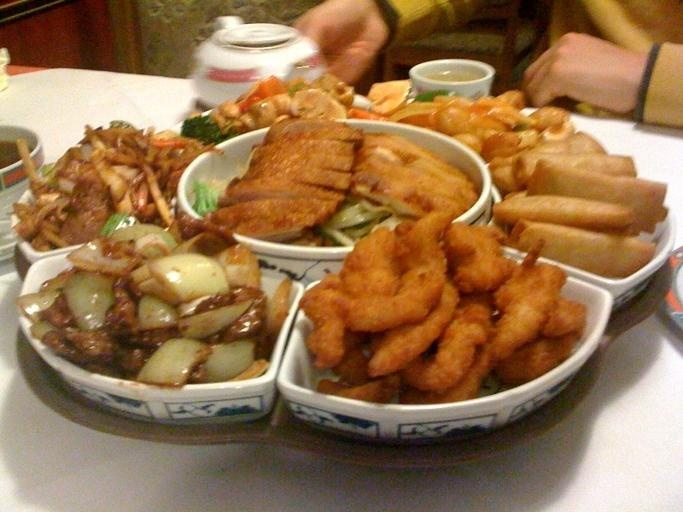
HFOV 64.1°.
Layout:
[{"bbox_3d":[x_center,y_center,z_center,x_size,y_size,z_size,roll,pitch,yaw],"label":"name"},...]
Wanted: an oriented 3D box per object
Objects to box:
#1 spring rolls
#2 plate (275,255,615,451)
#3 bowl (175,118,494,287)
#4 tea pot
[{"bbox_3d":[0.612,-0.184,1.574,0.613,0.348,0.372,-3,16,-5],"label":"spring rolls"},{"bbox_3d":[0.243,0.232,1.209,0.765,0.185,0.297,-5,42,-5],"label":"plate"},{"bbox_3d":[-0.033,-0.057,1.739,0.707,0.162,0.620,-1,33,-2],"label":"bowl"},{"bbox_3d":[-0.274,-0.807,2.301,0.615,0.331,0.385,8,18,38],"label":"tea pot"}]
